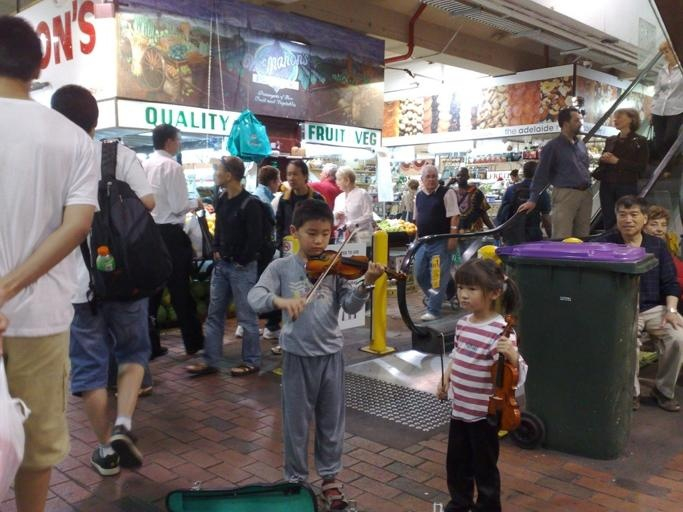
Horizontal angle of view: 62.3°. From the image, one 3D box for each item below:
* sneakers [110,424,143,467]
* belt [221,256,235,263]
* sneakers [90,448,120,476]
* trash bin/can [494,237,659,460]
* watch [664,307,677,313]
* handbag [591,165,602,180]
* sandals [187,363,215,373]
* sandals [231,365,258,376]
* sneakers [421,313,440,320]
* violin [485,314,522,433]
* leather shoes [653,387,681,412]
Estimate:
[{"bbox_3d":[-1.374,1.222,3.566,0.165,0.318,0.136,-7,15,-38],"label":"sneakers"},{"bbox_3d":[-1.107,0.033,5.469,0.090,0.021,0.064,22,-17,-19],"label":"belt"},{"bbox_3d":[-1.529,1.330,3.643,0.106,0.114,0.251,-2,10,-33],"label":"sneakers"},{"bbox_3d":[1.683,0.664,4.099,1.057,1.364,0.816,-2,-6,34],"label":"trash bin/can"},{"bbox_3d":[2.740,0.452,4.682,0.058,0.040,0.062,7,-2,8],"label":"watch"},{"bbox_3d":[3.461,-1.134,7.705,0.133,0.181,0.167,-1,20,5],"label":"handbag"},{"bbox_3d":[-1.389,1.102,5.536,0.273,0.106,0.099,10,-1,-22],"label":"sandals"},{"bbox_3d":[-0.960,1.113,5.505,0.208,0.067,0.106,5,-4,-42],"label":"sandals"},{"bbox_3d":[1.091,0.759,7.013,0.226,0.094,0.082,0,1,15],"label":"sneakers"},{"bbox_3d":[0.822,0.696,2.841,0.152,0.396,0.175,6,12,16],"label":"violin"},{"bbox_3d":[2.716,1.204,4.761,0.101,0.111,0.267,-6,10,-15],"label":"leather shoes"}]
